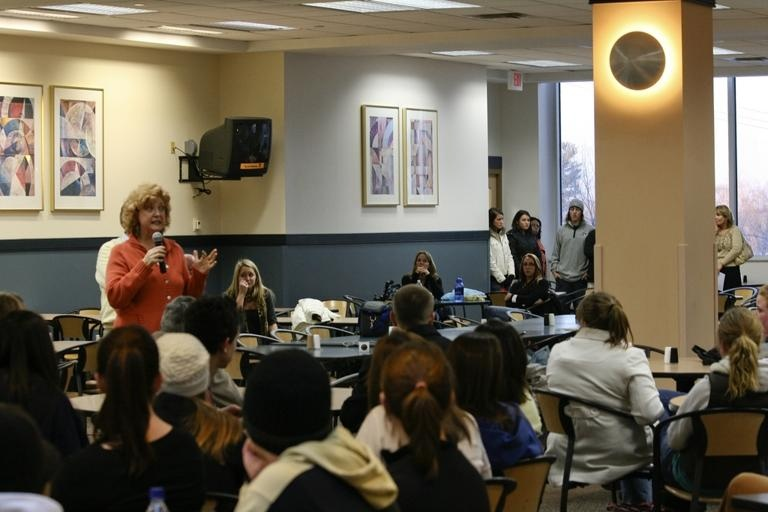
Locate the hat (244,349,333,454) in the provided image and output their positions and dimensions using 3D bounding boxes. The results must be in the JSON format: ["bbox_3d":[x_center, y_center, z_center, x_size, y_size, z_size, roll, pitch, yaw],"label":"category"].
[{"bbox_3d":[-0.294,0.378,2.009,0.242,0.272,0.281,-2,15,-15],"label":"hat"}]

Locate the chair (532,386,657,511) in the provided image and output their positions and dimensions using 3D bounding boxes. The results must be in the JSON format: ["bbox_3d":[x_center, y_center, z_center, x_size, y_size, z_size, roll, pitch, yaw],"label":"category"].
[{"bbox_3d":[1.393,1.136,4.672,0.731,1.113,0.810,-2,-1,1],"label":"chair"}]

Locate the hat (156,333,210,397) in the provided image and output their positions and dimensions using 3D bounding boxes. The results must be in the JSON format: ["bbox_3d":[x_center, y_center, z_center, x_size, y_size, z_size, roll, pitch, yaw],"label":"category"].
[{"bbox_3d":[-0.796,0.429,2.730,0.177,0.205,0.250,-1,5,-11],"label":"hat"}]

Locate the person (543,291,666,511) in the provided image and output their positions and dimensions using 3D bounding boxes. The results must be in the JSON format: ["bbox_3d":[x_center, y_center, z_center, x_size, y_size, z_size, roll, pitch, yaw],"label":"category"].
[{"bbox_3d":[1.372,0.935,4.289,0.681,1.402,0.429,0,3,14],"label":"person"}]

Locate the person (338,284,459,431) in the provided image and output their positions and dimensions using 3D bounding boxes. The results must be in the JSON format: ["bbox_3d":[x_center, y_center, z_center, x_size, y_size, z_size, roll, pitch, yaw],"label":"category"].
[{"bbox_3d":[-0.080,0.468,4.059,0.881,0.941,0.666,-1,-1,33],"label":"person"}]

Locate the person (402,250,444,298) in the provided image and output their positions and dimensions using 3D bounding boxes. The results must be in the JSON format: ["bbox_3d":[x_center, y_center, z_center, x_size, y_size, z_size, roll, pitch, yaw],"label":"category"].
[{"bbox_3d":[0.577,0.254,9.312,0.597,0.869,0.587,-3,-18,8],"label":"person"}]

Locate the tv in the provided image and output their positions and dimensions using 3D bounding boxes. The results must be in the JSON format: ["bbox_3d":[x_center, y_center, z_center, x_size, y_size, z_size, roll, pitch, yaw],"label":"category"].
[{"bbox_3d":[-2.310,-1.655,10.572,0.792,0.847,1.061,0,-1,-38],"label":"tv"}]

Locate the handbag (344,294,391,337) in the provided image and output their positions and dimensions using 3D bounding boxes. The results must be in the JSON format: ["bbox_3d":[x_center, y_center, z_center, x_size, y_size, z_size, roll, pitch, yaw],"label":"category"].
[{"bbox_3d":[-0.129,0.530,6.456,0.430,0.516,0.572,1,-12,-8],"label":"handbag"}]

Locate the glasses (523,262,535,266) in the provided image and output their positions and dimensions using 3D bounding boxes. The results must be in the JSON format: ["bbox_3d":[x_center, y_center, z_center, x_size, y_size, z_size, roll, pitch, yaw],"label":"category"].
[{"bbox_3d":[1.962,0.092,9.145,0.158,0.074,0.052,-1,3,-1],"label":"glasses"}]

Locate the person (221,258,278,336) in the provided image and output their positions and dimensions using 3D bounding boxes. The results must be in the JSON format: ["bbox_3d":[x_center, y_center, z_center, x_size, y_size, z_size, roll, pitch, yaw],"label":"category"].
[{"bbox_3d":[-1.372,0.600,7.127,0.535,1.065,0.507,-9,-22,-6],"label":"person"}]

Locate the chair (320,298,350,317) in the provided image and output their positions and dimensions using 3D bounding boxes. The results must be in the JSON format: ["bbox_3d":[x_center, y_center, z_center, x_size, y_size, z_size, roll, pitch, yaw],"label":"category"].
[{"bbox_3d":[-0.644,0.699,9.300,0.233,0.324,0.273,1,0,6],"label":"chair"}]

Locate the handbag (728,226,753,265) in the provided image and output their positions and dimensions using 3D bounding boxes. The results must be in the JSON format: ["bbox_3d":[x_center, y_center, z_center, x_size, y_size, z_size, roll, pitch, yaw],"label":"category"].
[{"bbox_3d":[5.902,-0.256,11.389,0.263,0.512,0.487,0,4,38],"label":"handbag"}]
